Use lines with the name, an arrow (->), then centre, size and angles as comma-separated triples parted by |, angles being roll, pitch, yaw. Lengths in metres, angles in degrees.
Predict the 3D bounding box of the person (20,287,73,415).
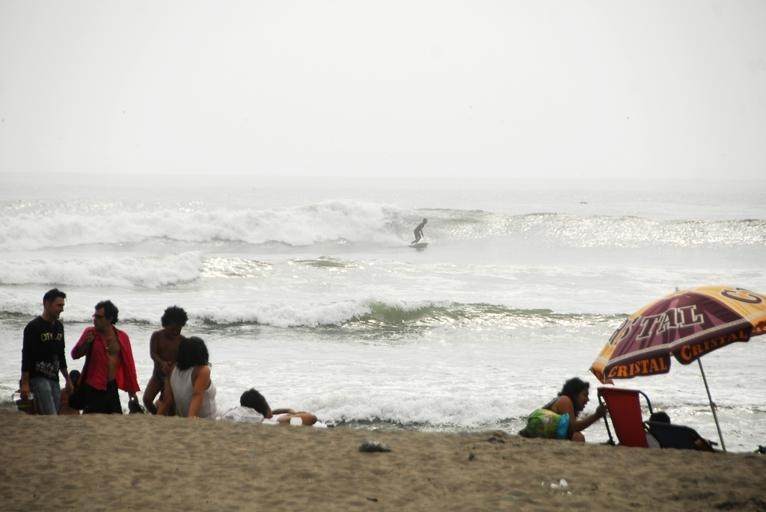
person -> -7.361, 2.135, 22.636 | 1.042, 2.769, 0.588 | 1, 9, -18

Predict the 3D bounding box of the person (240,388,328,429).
person -> -2.377, 3.509, 23.394 | 1.679, 0.583, 0.785 | 24, -11, -9

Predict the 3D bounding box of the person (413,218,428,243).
person -> 1.866, -1.194, 51.735 | 0.648, 1.474, 0.436 | 1, 48, -18

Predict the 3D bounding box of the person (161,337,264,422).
person -> -4.230, 2.654, 22.634 | 1.189, 1.801, 0.416 | 4, 9, 5

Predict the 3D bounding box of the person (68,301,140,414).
person -> -6.096, 2.232, 22.776 | 1.262, 2.423, 0.391 | 1, 9, -17
